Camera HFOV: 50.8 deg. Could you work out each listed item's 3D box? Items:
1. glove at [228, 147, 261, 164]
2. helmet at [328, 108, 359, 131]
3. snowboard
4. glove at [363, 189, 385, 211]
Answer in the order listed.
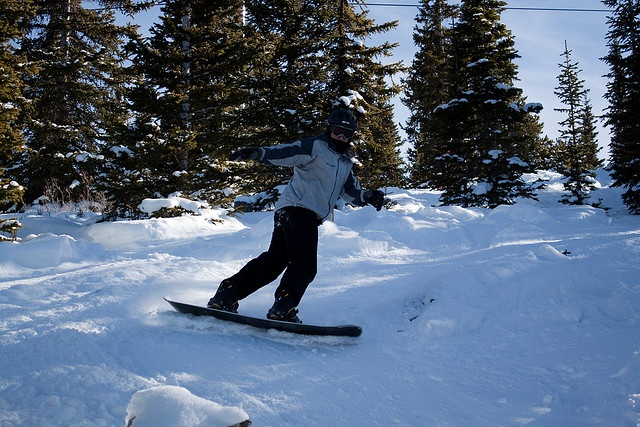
[{"bbox_3d":[-1.736,-1.375,15.505,0.717,0.314,0.357,1,1,-10],"label":"glove"},{"bbox_3d":[0.551,-2.229,15.930,0.497,0.596,0.566,13,-38,-9],"label":"helmet"},{"bbox_3d":[-1.477,2.433,15.747,6.118,0.654,0.430,3,15,2],"label":"snowboard"},{"bbox_3d":[1.284,-0.350,16.221,0.581,0.375,0.554,0,-3,1],"label":"glove"}]
